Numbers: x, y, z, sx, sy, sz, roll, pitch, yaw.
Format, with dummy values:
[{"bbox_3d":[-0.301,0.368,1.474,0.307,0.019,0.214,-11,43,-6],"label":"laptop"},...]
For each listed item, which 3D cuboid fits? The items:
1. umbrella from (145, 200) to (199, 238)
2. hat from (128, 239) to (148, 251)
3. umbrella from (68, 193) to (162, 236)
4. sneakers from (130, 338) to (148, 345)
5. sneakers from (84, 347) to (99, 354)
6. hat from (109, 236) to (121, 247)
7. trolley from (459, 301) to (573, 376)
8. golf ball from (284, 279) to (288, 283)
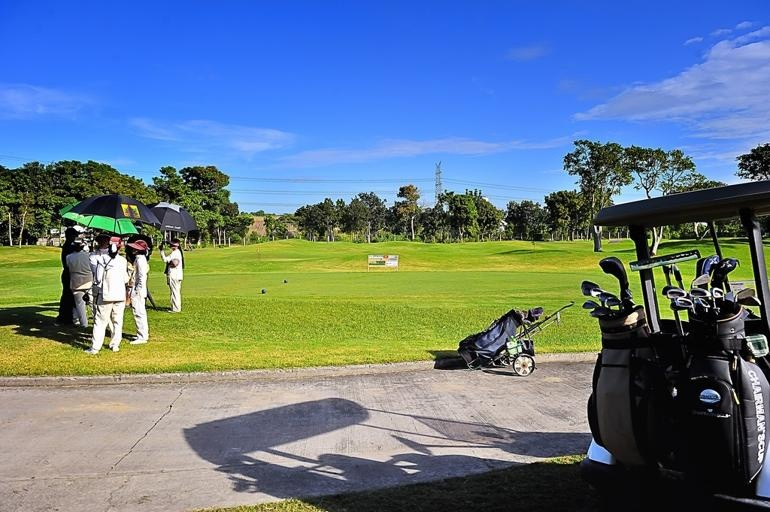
[{"bbox_3d":[-6.676,-1.086,15.369,1.305,0.487,1.257,12,11,30],"label":"umbrella"},{"bbox_3d":[-6.319,-0.269,12.868,0.392,0.261,0.127,10,-51,-35],"label":"hat"},{"bbox_3d":[-6.542,-1.027,12.373,1.583,0.456,1.503,2,-1,29],"label":"umbrella"},{"bbox_3d":[-5.599,1.926,11.369,0.297,0.103,0.163,-6,-4,16],"label":"sneakers"},{"bbox_3d":[-6.093,1.947,10.448,0.331,0.115,0.115,-4,-4,25],"label":"sneakers"},{"bbox_3d":[-6.133,-0.327,11.413,0.247,0.103,0.314,10,14,-24],"label":"hat"},{"bbox_3d":[2.717,1.622,10.136,2.436,1.321,0.976,-6,-5,22],"label":"trolley"},{"bbox_3d":[-5.617,1.393,28.525,0.180,0.152,0.213,3,2,-8],"label":"golf ball"}]
